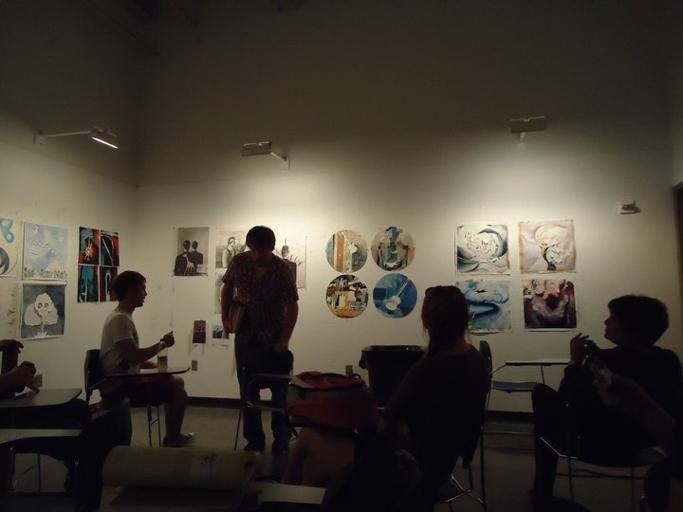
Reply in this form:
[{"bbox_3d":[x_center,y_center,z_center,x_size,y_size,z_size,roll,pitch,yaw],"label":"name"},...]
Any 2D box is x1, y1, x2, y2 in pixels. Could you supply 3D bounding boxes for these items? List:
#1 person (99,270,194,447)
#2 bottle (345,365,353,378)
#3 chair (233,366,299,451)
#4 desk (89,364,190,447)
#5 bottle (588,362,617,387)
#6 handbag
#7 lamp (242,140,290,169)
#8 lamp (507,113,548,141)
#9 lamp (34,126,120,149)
[{"bbox_3d":[-0.779,0.435,2.056,0.368,0.745,0.296,0,-6,-21],"label":"person"},{"bbox_3d":[0.026,0.383,1.679,0.026,0.045,0.029,-1,0,0],"label":"bottle"},{"bbox_3d":[-0.249,0.536,1.815,0.231,0.322,0.202,-1,-4,-5],"label":"chair"},{"bbox_3d":[-0.700,0.501,1.818,0.258,0.244,0.312,-1,-1,0],"label":"desk"},{"bbox_3d":[0.819,0.374,1.600,0.050,0.101,0.024,-29,5,22],"label":"bottle"},{"bbox_3d":[-0.030,0.454,1.600,0.179,0.071,0.187,3,4,6],"label":"handbag"},{"bbox_3d":[-0.260,-0.355,1.756,0.169,0.086,0.070,1,-2,-13],"label":"lamp"},{"bbox_3d":[0.611,-0.424,1.672,0.119,0.075,0.029,4,7,32],"label":"lamp"},{"bbox_3d":[-0.931,-0.418,1.778,0.245,0.082,0.141,-4,0,-1],"label":"lamp"}]
